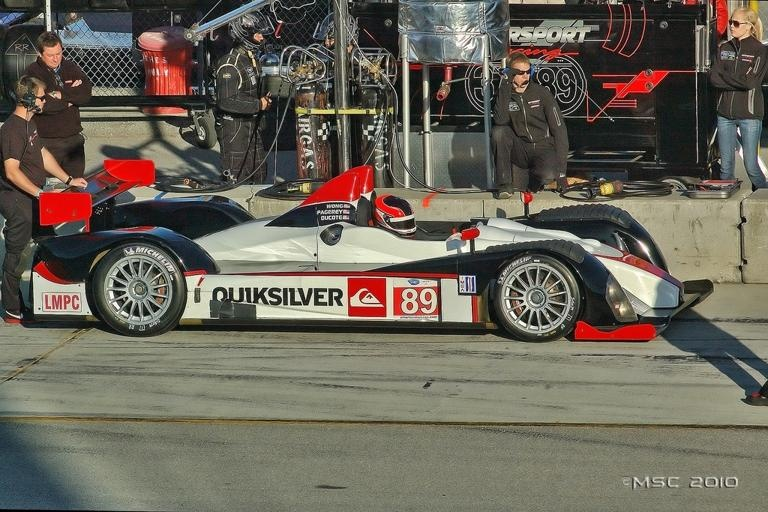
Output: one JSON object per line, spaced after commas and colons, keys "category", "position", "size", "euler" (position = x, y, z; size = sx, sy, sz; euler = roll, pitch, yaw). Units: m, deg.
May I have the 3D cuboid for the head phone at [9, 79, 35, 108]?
{"category": "head phone", "position": [-3.635, -1.642, 12.424], "size": [0.216, 0.295, 0.214], "euler": [-1, 10, -13]}

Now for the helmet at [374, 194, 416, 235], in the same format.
{"category": "helmet", "position": [0.103, -0.419, 12.088], "size": [0.466, 0.250, 0.311], "euler": [21, 22, 10]}

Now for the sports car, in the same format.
{"category": "sports car", "position": [-0.355, 0.106, 12.239], "size": [5.815, 1.166, 2.556], "euler": [0, 10, 3]}

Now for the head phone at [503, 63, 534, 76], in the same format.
{"category": "head phone", "position": [1.610, -2.186, 14.546], "size": [0.246, 0.106, 0.295], "euler": [-2, -8, 2]}

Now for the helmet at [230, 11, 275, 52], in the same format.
{"category": "helmet", "position": [-1.732, -2.911, 15.984], "size": [0.617, 0.408, 0.419], "euler": [3, 38, -7]}

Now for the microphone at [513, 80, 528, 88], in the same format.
{"category": "microphone", "position": [1.632, -2.020, 14.577], "size": [0.171, 0.105, 0.167], "euler": [2, 9, 5]}

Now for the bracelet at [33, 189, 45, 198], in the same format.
{"category": "bracelet", "position": [-3.497, -0.630, 12.358], "size": [0.134, 0.080, 0.052], "euler": [2, 10, -12]}

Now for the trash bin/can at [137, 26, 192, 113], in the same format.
{"category": "trash bin/can", "position": [-3.545, -3.118, 19.870], "size": [0.873, 1.102, 0.529], "euler": [0, 10, -11]}
